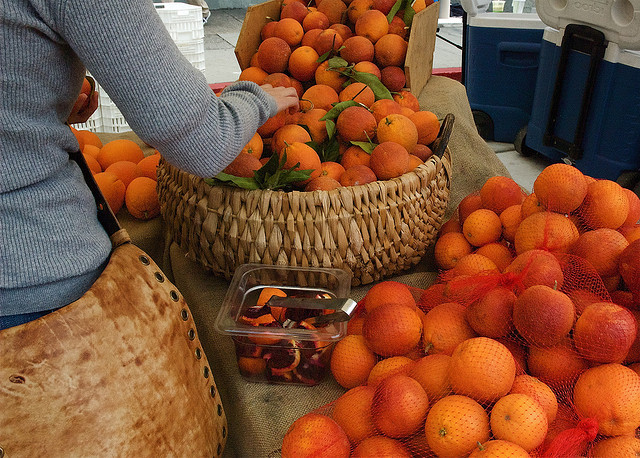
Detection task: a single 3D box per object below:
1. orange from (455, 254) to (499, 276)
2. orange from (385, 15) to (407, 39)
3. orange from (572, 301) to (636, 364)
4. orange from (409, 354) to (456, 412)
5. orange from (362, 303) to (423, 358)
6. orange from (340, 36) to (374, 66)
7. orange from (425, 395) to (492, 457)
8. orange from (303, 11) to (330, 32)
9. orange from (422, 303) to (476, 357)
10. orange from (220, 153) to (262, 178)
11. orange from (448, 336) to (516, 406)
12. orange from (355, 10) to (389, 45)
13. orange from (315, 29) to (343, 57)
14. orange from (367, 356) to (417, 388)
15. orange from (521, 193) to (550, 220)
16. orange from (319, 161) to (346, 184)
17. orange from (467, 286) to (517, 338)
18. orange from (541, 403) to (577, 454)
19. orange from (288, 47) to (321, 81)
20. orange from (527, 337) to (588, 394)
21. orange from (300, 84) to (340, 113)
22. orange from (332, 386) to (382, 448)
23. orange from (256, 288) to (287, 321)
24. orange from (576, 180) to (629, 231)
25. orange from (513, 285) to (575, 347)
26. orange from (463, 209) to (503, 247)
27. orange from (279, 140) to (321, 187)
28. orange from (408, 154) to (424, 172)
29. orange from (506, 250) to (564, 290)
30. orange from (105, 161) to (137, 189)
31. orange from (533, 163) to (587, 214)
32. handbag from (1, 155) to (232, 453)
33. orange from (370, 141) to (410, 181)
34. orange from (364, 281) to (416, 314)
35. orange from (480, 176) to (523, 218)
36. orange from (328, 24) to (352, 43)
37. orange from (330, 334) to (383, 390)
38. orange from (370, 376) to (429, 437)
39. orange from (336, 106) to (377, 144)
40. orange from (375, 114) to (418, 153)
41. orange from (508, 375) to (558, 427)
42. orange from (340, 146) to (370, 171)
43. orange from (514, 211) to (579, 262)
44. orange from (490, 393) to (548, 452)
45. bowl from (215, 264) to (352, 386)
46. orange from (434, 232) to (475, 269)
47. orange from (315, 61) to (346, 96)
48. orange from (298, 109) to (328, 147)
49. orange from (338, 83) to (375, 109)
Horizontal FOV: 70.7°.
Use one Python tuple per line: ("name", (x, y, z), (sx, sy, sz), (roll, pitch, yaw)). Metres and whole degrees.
("orange", (0.317, 0.075, 0.932), (0.058, 0.045, 0.048), (1, -2, 1))
("orange", (0.268, -0.691, 1.544), (0.058, 0.085, 0.064), (-13, 11, 2))
("orange", (0.471, 0.171, 0.750), (0.087, 0.064, 0.067), (-1, 33, 0))
("orange", (0.182, 0.251, 0.744), (0.061, 0.088, 0.068), (0, 3, 7))
("orange", (0.131, 0.174, 0.802), (0.090, 0.088, 0.080), (0, 0, 4))
("orange", (0.116, -0.561, 1.412), (0.091, 0.109, 0.097), (-8, 23, 7))
("orange", (0.211, 0.291, 0.709), (0.080, 0.082, 0.083), (-38, 62, -1))
("orange", (-0.011, -0.679, 1.533), (0.067, 0.094, 0.070), (-10, 7, -5))
("orange", (0.241, 0.171, 0.856), (0.070, 0.100, 0.067), (28, -10, -39))
("orange", (-0.175, -0.143, 1.025), (0.074, 0.053, 0.049), (-3, 1, -17))
("orange", (0.278, 0.224, 0.751), (0.086, 0.123, 0.093), (-13, 6, 13))
("orange", (0.170, -0.667, 1.477), (0.098, 0.105, 0.113), (-3, 56, 7))
("orange", (0.027, -0.582, 1.411), (0.087, 0.067, 0.061), (0, 33, 1))
("orange", (0.121, 0.242, 0.780), (0.049, 0.039, 0.063), (-15, 6, 25))
("orange", (0.464, -0.048, 0.975), (0.041, 0.051, 0.054), (6, -1, 2))
("orange", (0.030, -0.144, 1.098), (0.045, 0.053, 0.052), (-14, 53, -17))
("orange", (0.305, 0.149, 0.788), (0.084, 0.086, 0.077), (-12, 15, -21))
("orange", (0.385, 0.325, 0.736), (0.049, 0.043, 0.060), (-5, 28, 7))
("orange", (-0.054, -0.539, 1.428), (0.093, 0.120, 0.098), (-16, 36, -24))
("orange", (0.403, 0.230, 0.757), (0.055, 0.075, 0.060), (-25, 7, 0))
("orange", (0.008, -0.381, 1.298), (0.058, 0.074, 0.065), (9, 11, -36))
("orange", (0.059, 0.303, 0.732), (0.073, 0.105, 0.079), (0, -1, 5))
("orange", (-0.096, 0.137, 0.863), (0.047, 0.058, 0.052), (-7, 61, -20))
("orange", (0.583, -0.047, 0.933), (0.066, 0.057, 0.060), (28, 33, -46))
("orange", (0.397, 0.158, 0.778), (0.089, 0.129, 0.097), (6, -12, -22))
("orange", (0.360, -0.006, 1.027), (0.068, 0.089, 0.082), (-4, 18, -7))
("orange", (-0.064, -0.167, 1.091), (0.055, 0.063, 0.088), (11, 61, -9))
("orange", (0.231, -0.159, 1.091), (0.035, 0.046, 0.034), (-36, 32, -31))
("orange", (0.393, 0.069, 0.840), (0.072, 0.077, 0.074), (18, 1, -12))
("orange", (-0.563, -0.165, 1.284), (0.068, 0.091, 0.073), (5, 33, -31))
("orange", (0.489, -0.084, 0.944), (0.091, 0.113, 0.114), (-8, 29, 27))
("handbag", (-0.302, 0.195, 0.902), (0.263, 0.467, 0.433), (-22, -1, -26))
("orange", (0.164, -0.157, 1.104), (0.078, 0.098, 0.097), (-23, 19, -6))
("orange", (0.142, 0.139, 0.880), (0.075, 0.080, 0.069), (3, -11, -19))
("orange", (0.431, -0.082, 1.089), (0.074, 0.103, 0.077), (10, 1, 32))
("orange", (0.067, -0.651, 1.480), (0.058, 0.072, 0.066), (-11, 25, -14))
("orange", (0.061, 0.253, 0.850), (0.070, 0.101, 0.077), (1, -9, -30))
("orange", (0.116, 0.283, 0.732), (0.079, 0.113, 0.088), (3, -20, -4))
("orange", (0.086, -0.271, 1.198), (0.086, 0.123, 0.095), (-14, 23, -13))
("orange", (0.196, -0.234, 1.183), (0.085, 0.111, 0.090), (-15, 33, 27))
("orange", (0.341, 0.272, 0.725), (0.059, 0.084, 0.067), (-12, 51, 33))
("orange", (0.088, -0.180, 1.126), (0.056, 0.081, 0.058), (-12, 18, -26))
("orange", (0.454, 0.008, 0.903), (0.096, 0.112, 0.115), (5, -15, 45))
("orange", (0.297, 0.288, 0.672), (0.069, 0.089, 0.082), (-11, 51, 23))
("bowl", (-0.070, 0.182, 0.880), (0.213, 0.186, 0.204), (7, 27, -3))
("orange", (0.305, 0.048, 1.048), (0.071, 0.090, 0.083), (17, 68, 2))
("orange", (0.031, -0.462, 1.431), (0.085, 0.098, 0.101), (-9, 58, 11))
("orange", (-0.010, -0.269, 1.248), (0.080, 0.119, 0.089), (-2, 3, 5))
("orange", (0.098, -0.373, 1.280), (0.061, 0.074, 0.084), (-15, 6, 10))
